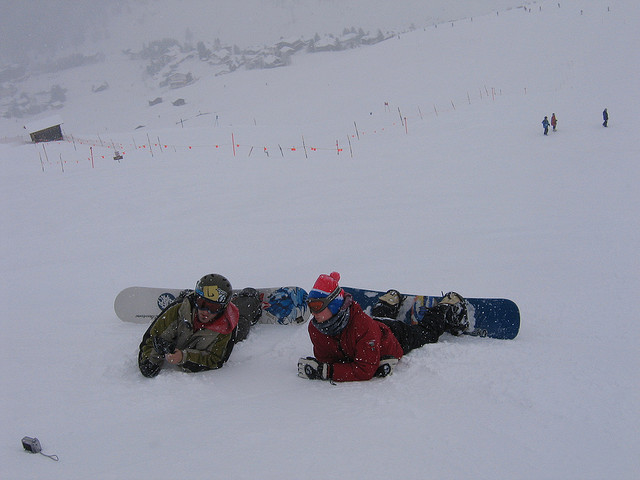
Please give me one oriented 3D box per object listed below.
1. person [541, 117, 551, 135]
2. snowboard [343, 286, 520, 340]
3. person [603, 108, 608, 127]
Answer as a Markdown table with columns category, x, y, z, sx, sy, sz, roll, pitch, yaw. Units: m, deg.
| category | x | y | z | sx | sy | sz | roll | pitch | yaw |
| --- | --- | --- | --- | --- | --- | --- | --- | --- | --- |
| person | 6.642 | -3.355 | 21.745 | 0.177 | 0.492 | 0.712 | -4 | 8 | 17 |
| snowboard | 2.015 | 1.220 | 12.490 | 3.282 | 0.723 | 0.461 | 7 | 4 | -30 |
| person | 8.334 | -3.564 | 21.677 | 0.133 | 0.490 | 0.705 | -4 | 9 | 22 |
